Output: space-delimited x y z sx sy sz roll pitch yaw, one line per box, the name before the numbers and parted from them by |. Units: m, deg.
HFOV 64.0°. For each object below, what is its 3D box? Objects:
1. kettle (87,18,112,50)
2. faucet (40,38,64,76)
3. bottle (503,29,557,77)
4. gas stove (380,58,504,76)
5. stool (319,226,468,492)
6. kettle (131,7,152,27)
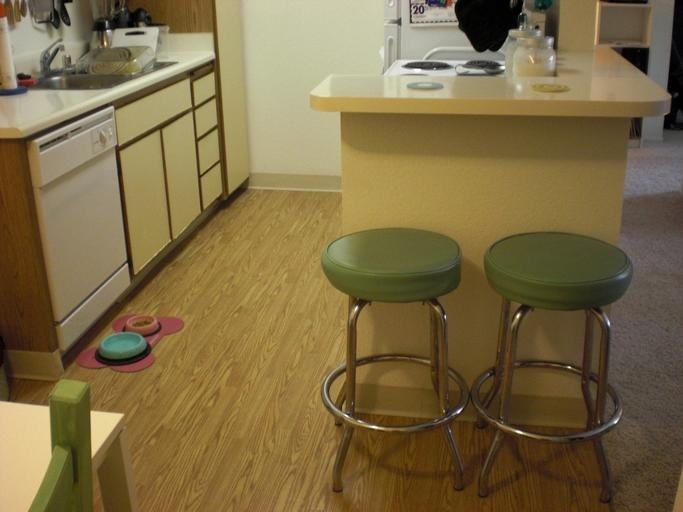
kettle | -1.496 -1.369 3.395 0.135 0.157 0.314 -14 30 -21
faucet | -1.704 -1.173 3.213 0.157 0.163 0.319 -15 31 -23
bottle | 0.763 -0.800 2.198 0.193 0.193 0.410 5 29 15
gas stove | 0.601 -1.079 3.144 0.673 0.049 0.525 -1 29 4
stool | 0.211 0.367 1.968 0.571 0.851 0.507 -2 26 1
kettle | -1.409 -1.665 3.834 0.143 0.113 0.245 -11 30 -15
